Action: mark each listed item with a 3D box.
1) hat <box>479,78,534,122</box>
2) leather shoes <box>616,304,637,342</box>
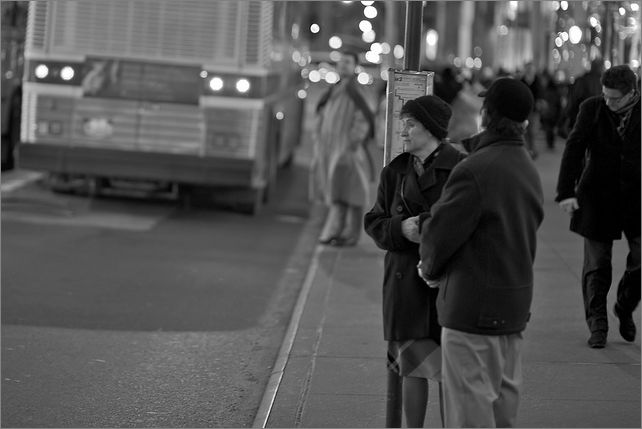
[{"bbox_3d":[1.045,-0.666,4.447,0.202,0.150,0.276,-9,43,-27],"label":"hat"},{"bbox_3d":[2.640,0.977,6.772,0.139,0.365,0.154,-13,6,12],"label":"leather shoes"}]
